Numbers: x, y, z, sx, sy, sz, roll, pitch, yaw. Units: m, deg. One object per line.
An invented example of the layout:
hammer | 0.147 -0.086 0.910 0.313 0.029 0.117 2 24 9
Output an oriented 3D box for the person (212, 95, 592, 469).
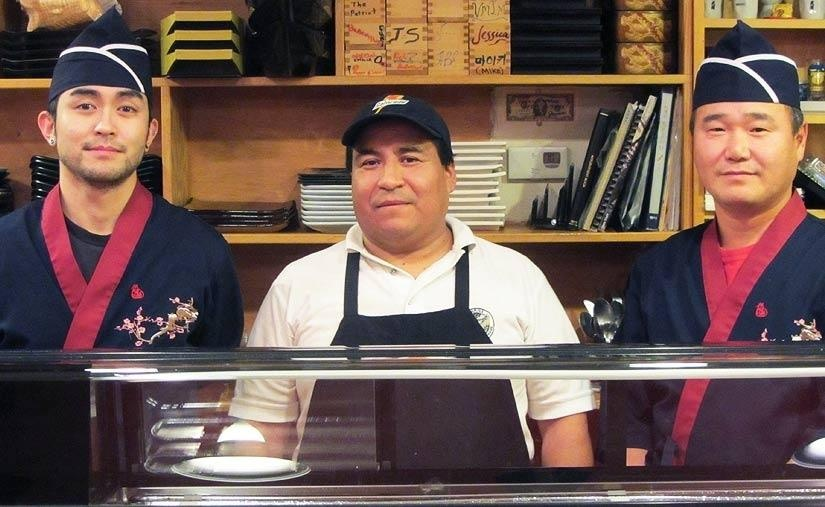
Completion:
person | -0.007 0.054 3.065 1.263 0.936 0.525 -1 -10 4

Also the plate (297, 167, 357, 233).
plate | -0.277 -0.171 3.677 0.217 0.134 0.233 0 3 -1

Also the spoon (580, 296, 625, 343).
spoon | 0.627 0.219 3.705 0.067 0.154 0.156 12 -32 -34

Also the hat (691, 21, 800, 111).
hat | 0.947 -0.524 3.132 0.262 0.164 0.316 -1 -2 20

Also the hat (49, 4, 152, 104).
hat | -0.919 -0.585 3.316 0.271 0.202 0.351 4 -5 -36
